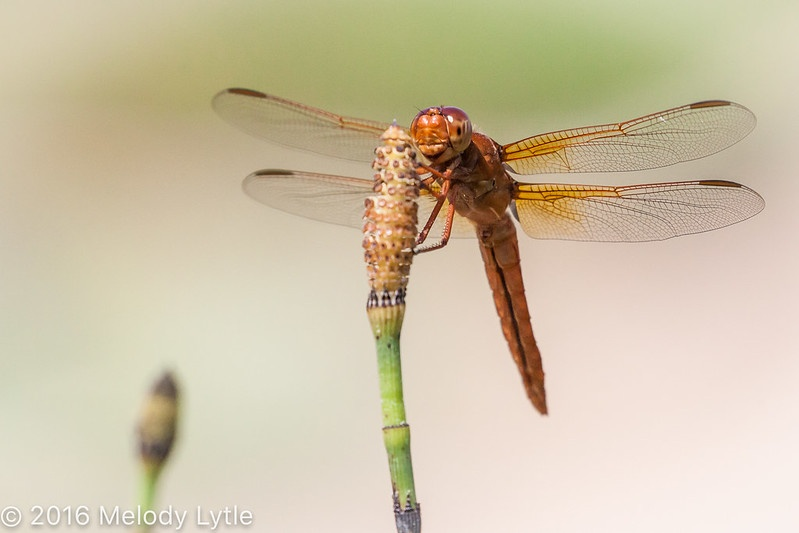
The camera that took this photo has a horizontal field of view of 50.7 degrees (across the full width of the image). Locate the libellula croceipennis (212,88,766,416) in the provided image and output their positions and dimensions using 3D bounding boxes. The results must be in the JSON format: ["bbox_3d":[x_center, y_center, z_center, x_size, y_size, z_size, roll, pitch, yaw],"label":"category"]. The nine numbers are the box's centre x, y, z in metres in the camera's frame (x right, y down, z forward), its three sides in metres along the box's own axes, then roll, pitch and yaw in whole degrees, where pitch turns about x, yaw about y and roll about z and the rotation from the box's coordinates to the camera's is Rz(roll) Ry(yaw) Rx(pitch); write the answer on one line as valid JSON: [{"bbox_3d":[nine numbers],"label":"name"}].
[{"bbox_3d":[0.288,-0.244,2.539,1.907,0.635,1.106,0,-82,1],"label":"libellula croceipennis"}]
